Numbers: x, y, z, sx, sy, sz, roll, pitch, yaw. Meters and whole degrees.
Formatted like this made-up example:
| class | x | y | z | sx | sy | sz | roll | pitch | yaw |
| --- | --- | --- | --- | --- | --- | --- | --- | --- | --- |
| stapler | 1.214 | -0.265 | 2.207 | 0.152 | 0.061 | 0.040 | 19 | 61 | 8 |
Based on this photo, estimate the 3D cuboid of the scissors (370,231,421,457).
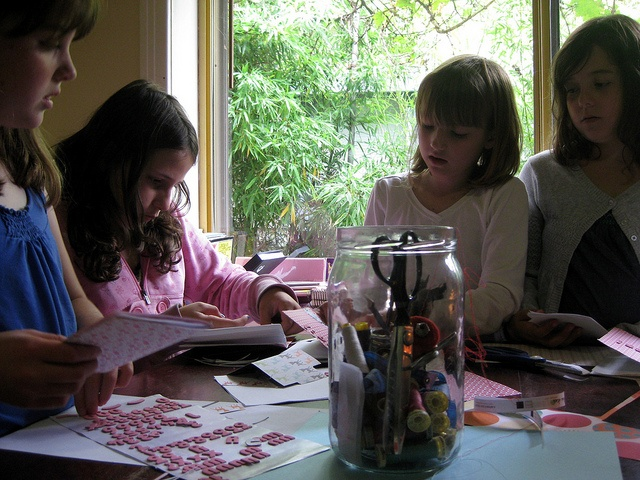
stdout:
| class | x | y | z | sx | sy | sz | roll | pitch | yaw |
| --- | --- | --- | --- | --- | --- | --- | --- | --- | --- |
| scissors | 0.115 | 0.163 | 0.826 | 0.091 | 0.285 | 0.039 | 6 | -15 | -16 |

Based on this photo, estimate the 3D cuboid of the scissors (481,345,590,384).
| class | x | y | z | sx | sy | sz | roll | pitch | yaw |
| --- | --- | --- | --- | --- | --- | --- | --- | --- | --- |
| scissors | 0.453 | 0.266 | 1.141 | 0.180 | 0.037 | 0.026 | 8 | 30 | 27 |

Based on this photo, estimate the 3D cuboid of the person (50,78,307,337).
| class | x | y | z | sx | sy | sz | roll | pitch | yaw |
| --- | --- | --- | --- | --- | --- | --- | --- | --- | --- |
| person | -0.344 | -0.118 | 1.748 | 0.791 | 0.774 | 0.521 | 6 | 10 | 10 |
